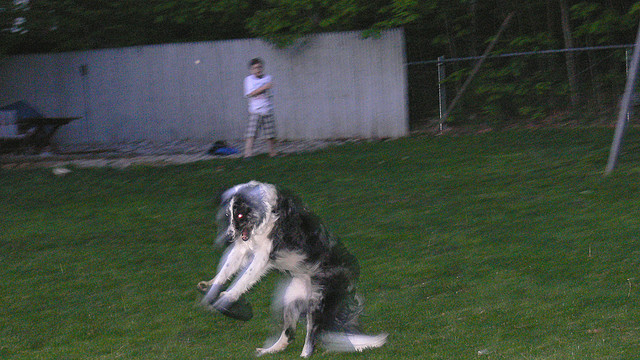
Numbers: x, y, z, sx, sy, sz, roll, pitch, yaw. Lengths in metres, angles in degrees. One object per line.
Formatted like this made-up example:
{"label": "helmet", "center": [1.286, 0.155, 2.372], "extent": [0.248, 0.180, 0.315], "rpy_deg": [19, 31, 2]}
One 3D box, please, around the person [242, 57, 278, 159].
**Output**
{"label": "person", "center": [-1.585, -1.787, 19.453], "extent": [0.817, 2.620, 1.053], "rpy_deg": [-5, 13, -6]}

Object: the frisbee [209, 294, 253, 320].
{"label": "frisbee", "center": [-1.589, 2.310, 13.708], "extent": [0.677, 0.167, 0.453], "rpy_deg": [7, -12, 9]}
